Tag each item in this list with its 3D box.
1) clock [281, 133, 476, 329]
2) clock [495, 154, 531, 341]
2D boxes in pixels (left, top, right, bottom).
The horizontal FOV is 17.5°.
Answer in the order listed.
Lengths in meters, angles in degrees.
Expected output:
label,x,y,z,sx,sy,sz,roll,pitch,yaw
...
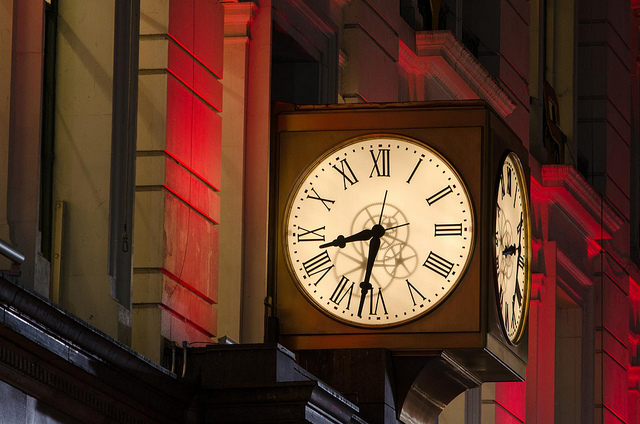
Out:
label,x,y,z,sx,sy,sz,roll,pitch,yaw
clock,0.539,0.213,17.300,1.587,0.160,1.573,2,-98,-1
clock,1.619,0.297,17.738,0.179,1.528,1.508,-1,-95,15
